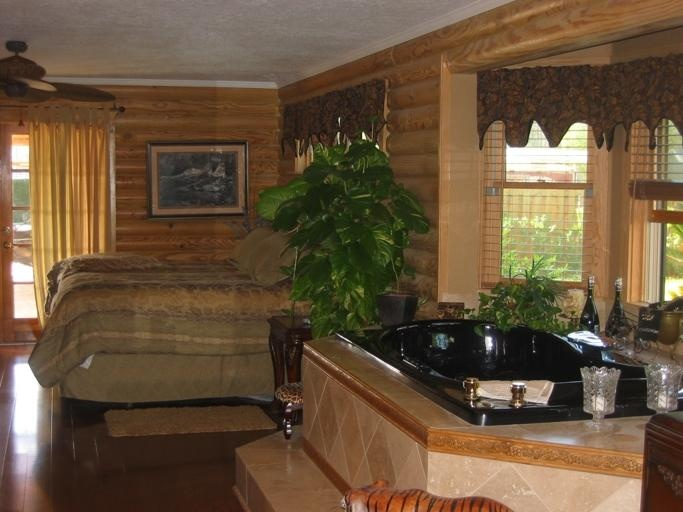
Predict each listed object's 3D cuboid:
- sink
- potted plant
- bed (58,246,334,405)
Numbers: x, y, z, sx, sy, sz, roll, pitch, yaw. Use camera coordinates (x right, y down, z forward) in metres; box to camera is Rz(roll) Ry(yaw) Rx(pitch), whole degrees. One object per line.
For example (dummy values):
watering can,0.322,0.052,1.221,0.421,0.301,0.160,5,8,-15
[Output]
sink,0.785,0.555,2.679,0.636,0.148,0.814,-1,3,-27
potted plant,0.007,-0.152,3.895,0.953,1.367,0.746,6,9,36
bed,-1.138,0.609,4.545,1.612,0.575,1.480,0,3,-12
